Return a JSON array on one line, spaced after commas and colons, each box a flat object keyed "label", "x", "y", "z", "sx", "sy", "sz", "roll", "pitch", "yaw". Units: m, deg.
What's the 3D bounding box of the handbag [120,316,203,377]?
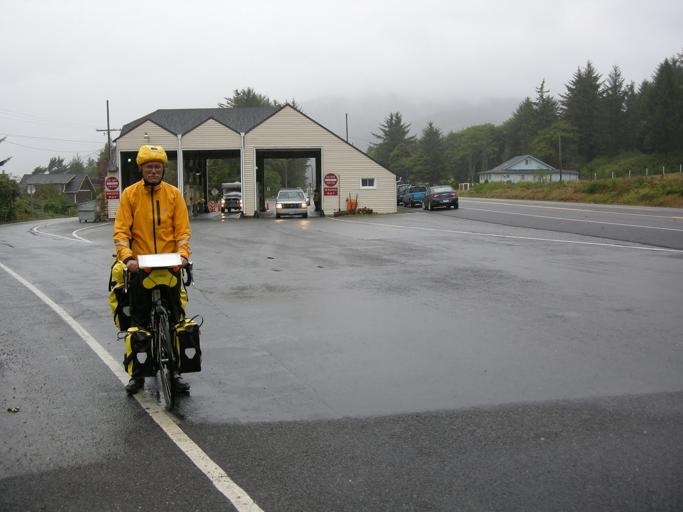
[{"label": "handbag", "x": -1.802, "y": 0.941, "z": 5.653, "sx": 0.758, "sy": 0.550, "sz": 0.262, "roll": 0, "pitch": 5, "yaw": 2}]

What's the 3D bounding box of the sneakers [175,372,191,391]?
[{"label": "sneakers", "x": -1.698, "y": 1.355, "z": 5.999, "sx": 0.104, "sy": 0.150, "sz": 0.293, "roll": -2, "pitch": 2, "yaw": -25}]

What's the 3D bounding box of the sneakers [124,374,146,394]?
[{"label": "sneakers", "x": -2.147, "y": 1.345, "z": 5.823, "sx": 0.117, "sy": 0.171, "sz": 0.307, "roll": 0, "pitch": -7, "yaw": -2}]

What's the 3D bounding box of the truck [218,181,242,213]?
[{"label": "truck", "x": -11.083, "y": -5.791, "z": 57.038, "sx": 2.208, "sy": 3.133, "sz": 5.133, "roll": 0, "pitch": 2, "yaw": -14}]

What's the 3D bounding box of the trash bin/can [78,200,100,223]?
[{"label": "trash bin/can", "x": -19.451, "y": -3.368, "z": 43.083, "sx": 0.745, "sy": 1.486, "sz": 1.873, "roll": 2, "pitch": 7, "yaw": 26}]

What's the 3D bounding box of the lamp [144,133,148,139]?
[{"label": "lamp", "x": -14.662, "y": -9.028, "z": 42.271, "sx": 0.266, "sy": 0.437, "sz": 0.371, "roll": 2, "pitch": 3, "yaw": 35}]

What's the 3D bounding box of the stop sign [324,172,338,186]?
[{"label": "stop sign", "x": -0.797, "y": -5.889, "z": 43.345, "sx": 0.832, "sy": 1.042, "sz": 0.944, "roll": 0, "pitch": 15, "yaw": -14}]
